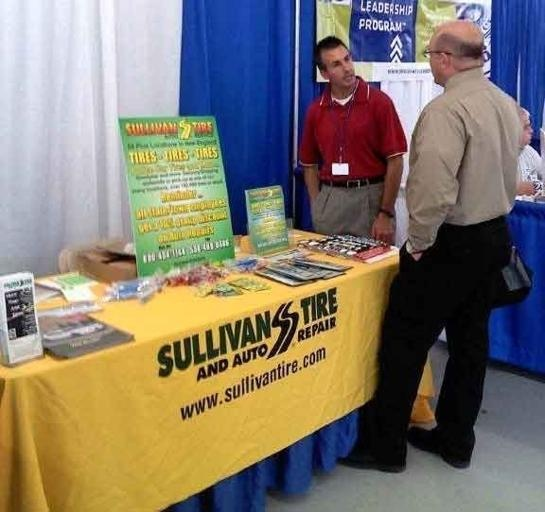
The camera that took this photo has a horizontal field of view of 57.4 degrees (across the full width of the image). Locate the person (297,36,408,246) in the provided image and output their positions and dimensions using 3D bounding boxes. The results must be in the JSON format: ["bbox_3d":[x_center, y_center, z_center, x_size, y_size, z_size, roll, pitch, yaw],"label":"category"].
[{"bbox_3d":[0.440,-0.348,2.832,0.538,1.739,0.390,1,27,19],"label":"person"}]
